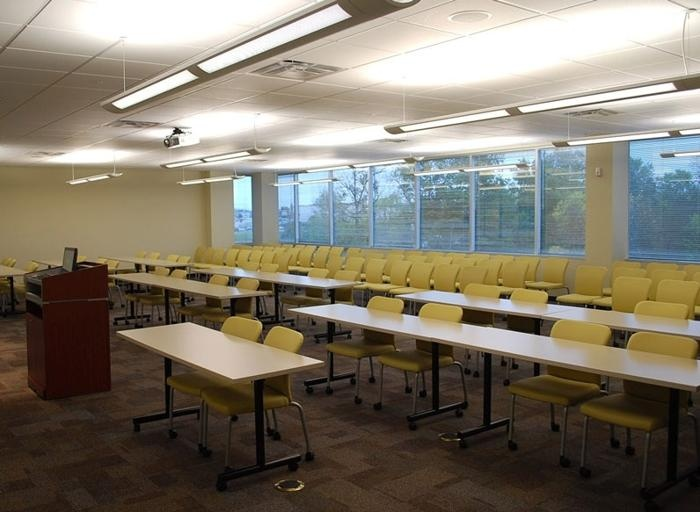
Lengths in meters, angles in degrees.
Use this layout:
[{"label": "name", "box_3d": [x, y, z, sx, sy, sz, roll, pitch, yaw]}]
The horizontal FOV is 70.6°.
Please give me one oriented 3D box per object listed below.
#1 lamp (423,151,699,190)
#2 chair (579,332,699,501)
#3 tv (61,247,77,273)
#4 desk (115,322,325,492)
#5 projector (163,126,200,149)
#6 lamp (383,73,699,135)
[{"label": "lamp", "box_3d": [4.866, -1.905, 11.010, 5.779, 0.562, 0.215, 3, 16, 37]}, {"label": "chair", "box_3d": [2.383, 1.224, 4.080, 0.829, 1.116, 1.106, 3, 9, 40]}, {"label": "tv", "box_3d": [-3.650, 0.055, 6.436, 0.061, 0.306, 0.511, 0, -23, -38]}, {"label": "desk", "box_3d": [-1.103, 1.272, 4.394, 0.821, 1.016, 1.724, -10, 9, -43]}, {"label": "projector", "box_3d": [-2.916, -2.043, 8.582, 0.496, 0.225, 0.474, -4, 5, -39]}, {"label": "lamp", "box_3d": [1.864, -1.478, 4.931, 2.770, 0.119, 0.396, 3, 7, 42]}]
